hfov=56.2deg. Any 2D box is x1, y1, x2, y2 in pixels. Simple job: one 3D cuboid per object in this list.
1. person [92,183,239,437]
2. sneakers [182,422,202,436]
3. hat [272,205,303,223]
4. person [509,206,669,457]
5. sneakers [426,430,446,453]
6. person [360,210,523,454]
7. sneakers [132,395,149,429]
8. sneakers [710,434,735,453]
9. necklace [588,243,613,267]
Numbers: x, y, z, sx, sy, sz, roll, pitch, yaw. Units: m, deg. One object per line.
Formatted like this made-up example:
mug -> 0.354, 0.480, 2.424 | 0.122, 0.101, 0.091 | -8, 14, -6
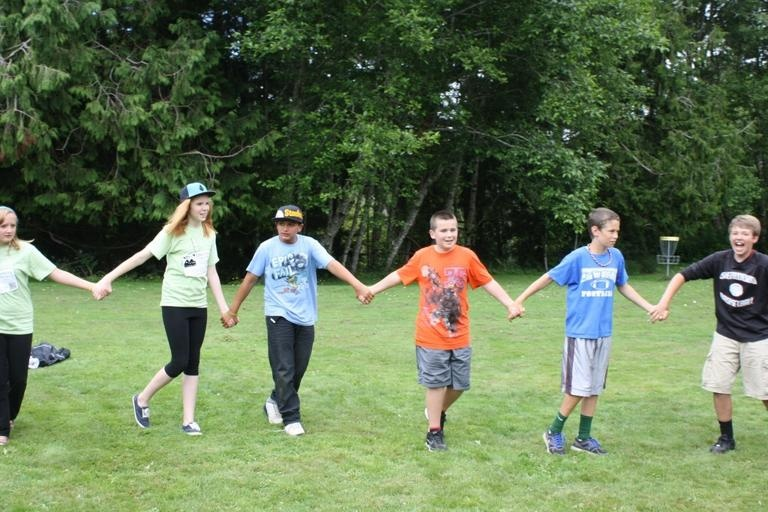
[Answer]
person -> -2.618, 0.646, 9.234 | 1.343, 3.108, 1.090 | -3, 14, -16
sneakers -> -2.422, 2.207, 9.137 | 0.133, 0.091, 0.254 | 3, -4, -41
hat -> -1.217, -0.534, 9.392 | 0.384, 0.180, 0.265 | 5, -4, -29
person -> 2.526, 0.916, 8.918 | 1.104, 2.954, 1.178 | 8, 15, 26
sneakers -> 0.640, 2.287, 8.895 | 0.251, 0.226, 0.175 | 2, 13, 2
person -> 0.732, 0.905, 8.986 | 1.505, 2.890, 0.922 | 1, 14, -1
sneakers -> -3.125, 2.056, 9.362 | 0.193, 0.440, 0.177 | -16, -2, 25
sneakers -> 4.225, 2.328, 8.936 | 0.329, 0.192, 0.257 | 4, 13, 13
necklace -> 2.701, 0.005, 8.820 | 0.231, 0.250, 0.065 | -6, -19, -5
